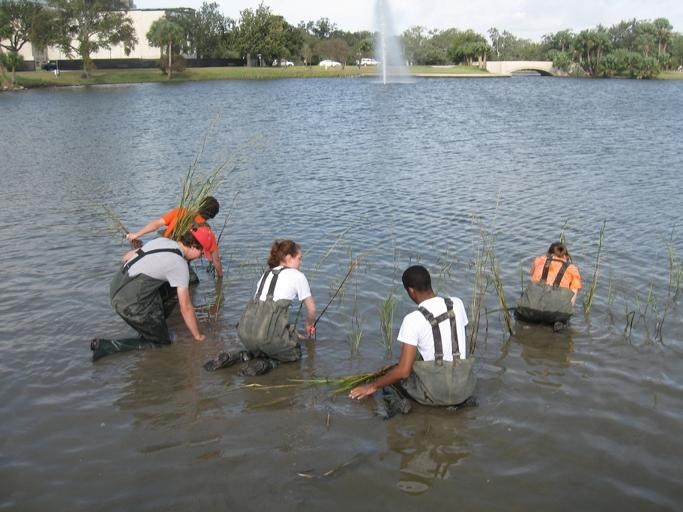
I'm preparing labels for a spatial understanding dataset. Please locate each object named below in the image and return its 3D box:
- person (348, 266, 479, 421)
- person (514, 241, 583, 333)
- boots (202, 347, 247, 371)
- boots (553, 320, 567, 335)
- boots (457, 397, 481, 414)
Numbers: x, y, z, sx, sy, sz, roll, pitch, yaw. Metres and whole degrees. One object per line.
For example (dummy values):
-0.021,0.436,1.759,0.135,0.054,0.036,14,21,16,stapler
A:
1.161,1.223,9.620,1.486,2.177,0.656,1,15,11,person
3.893,0.435,12.423,0.905,1.508,1.063,12,21,14,person
-1.841,1.661,11.034,0.802,0.322,0.268,-13,45,-21,boots
3.959,1.244,12.089,0.314,0.181,0.149,-8,16,-24,boots
1.884,2.215,10.013,0.276,0.187,0.092,-32,24,-4,boots
